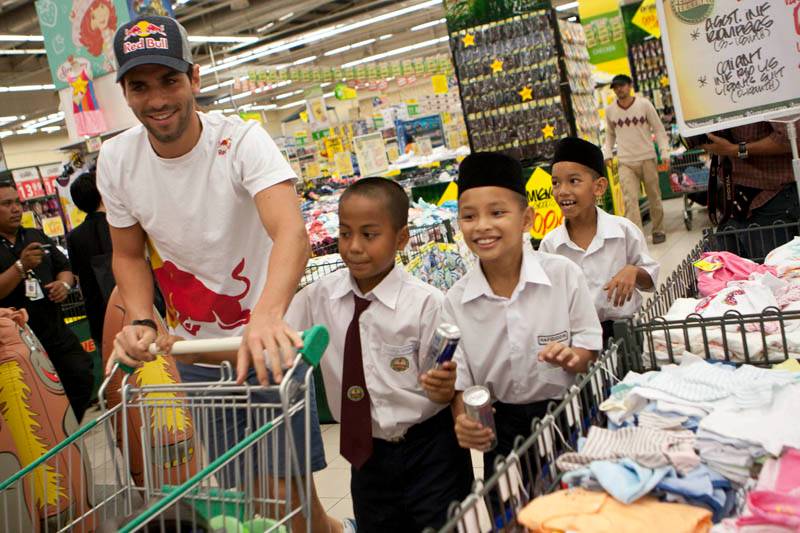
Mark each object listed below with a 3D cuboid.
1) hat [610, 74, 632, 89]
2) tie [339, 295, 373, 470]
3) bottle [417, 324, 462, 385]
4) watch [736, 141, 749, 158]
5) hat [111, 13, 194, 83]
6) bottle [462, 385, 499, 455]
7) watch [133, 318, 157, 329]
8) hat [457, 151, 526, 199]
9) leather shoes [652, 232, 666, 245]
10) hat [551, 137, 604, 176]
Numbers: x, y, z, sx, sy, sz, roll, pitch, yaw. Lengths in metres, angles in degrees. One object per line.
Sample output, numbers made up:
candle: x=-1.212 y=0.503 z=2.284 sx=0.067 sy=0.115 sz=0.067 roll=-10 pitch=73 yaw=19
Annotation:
hat: x=3.313 y=-2.762 z=7.862 sx=0.236 sy=0.222 sz=0.346 roll=-3 pitch=8 yaw=29
tie: x=-0.188 y=0.466 z=2.224 sx=0.176 sy=0.943 sz=0.065 roll=2 pitch=21 yaw=0
bottle: x=0.142 y=0.303 z=1.945 sx=0.082 sy=0.209 sz=0.221 roll=-10 pitch=8 yaw=-28
watch: x=2.296 y=-0.779 z=3.511 sx=0.066 sy=0.099 sz=0.100 roll=1 pitch=-11 yaw=18
hat: x=-0.946 y=-0.836 z=1.994 sx=0.271 sy=0.195 sz=0.390 roll=-9 pitch=25 yaw=-4
bottle: x=0.292 y=0.553 z=1.932 sx=0.104 sy=0.269 sz=0.187 roll=-6 pitch=7 yaw=6
watch: x=-1.002 y=0.226 z=2.045 sx=0.086 sy=0.034 sz=0.111 roll=-11 pitch=8 yaw=-25
hat: x=0.402 y=-0.412 z=2.373 sx=0.226 sy=0.134 sz=0.234 roll=0 pitch=0 yaw=29
leather shoes: x=3.985 y=-0.437 z=8.065 sx=0.174 sy=0.135 sz=0.178 roll=-5 pitch=2 yaw=2
hat: x=1.136 y=-0.689 z=3.349 sx=0.260 sy=0.165 sz=0.266 roll=6 pitch=-11 yaw=17
